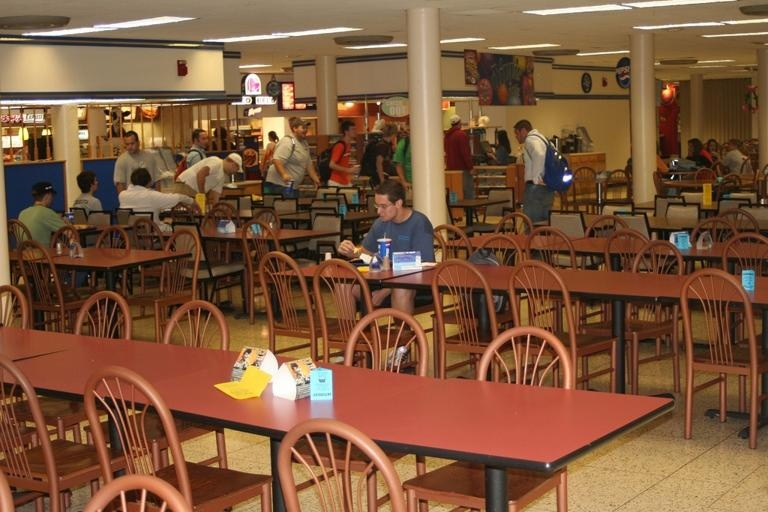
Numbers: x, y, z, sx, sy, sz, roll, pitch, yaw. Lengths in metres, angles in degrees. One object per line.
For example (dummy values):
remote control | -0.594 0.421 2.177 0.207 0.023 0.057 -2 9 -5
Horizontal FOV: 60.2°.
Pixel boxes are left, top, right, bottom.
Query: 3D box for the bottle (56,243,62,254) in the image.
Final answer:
bottle | -3.428 -0.083 6.974 0.072 0.117 0.123 0 8 -15

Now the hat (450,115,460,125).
hat | 1.419 -2.718 13.080 0.096 0.139 0.202 26 -25 -31

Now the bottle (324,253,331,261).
bottle | -0.765 -0.002 9.042 0.103 0.093 0.182 2 8 -2

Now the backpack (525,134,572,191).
backpack | 2.268 -1.211 9.376 0.735 0.619 0.442 6 -2 15
